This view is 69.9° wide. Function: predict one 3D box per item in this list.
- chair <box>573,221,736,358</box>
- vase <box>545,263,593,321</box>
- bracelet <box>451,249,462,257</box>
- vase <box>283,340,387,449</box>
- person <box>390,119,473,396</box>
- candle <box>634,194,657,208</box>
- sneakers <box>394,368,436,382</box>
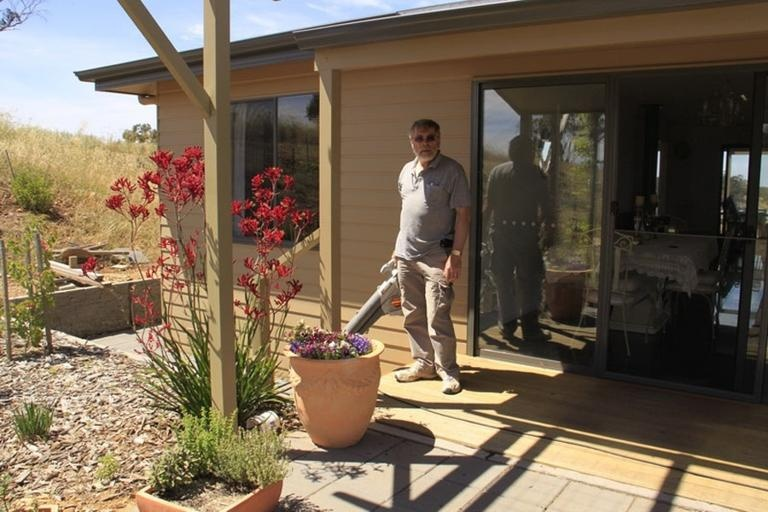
[{"bbox_3d":[2.718,0.114,5.361,1.070,0.713,1.513,5,13,30],"label":"chair"},{"bbox_3d":[1.793,0.396,5.363,0.504,0.499,0.393,2,-1,-37],"label":"vase"},{"bbox_3d":[0.617,-0.028,4.681,0.068,0.048,0.064,8,-8,6],"label":"bracelet"},{"bbox_3d":[-0.347,1.030,4.230,0.700,0.617,0.709,0,0,2],"label":"vase"},{"bbox_3d":[0.397,0.008,4.920,0.708,2.395,0.397,7,16,31],"label":"person"},{"bbox_3d":[2.561,-0.546,5.378,0.171,0.106,0.173,0,0,-2],"label":"candle"},{"bbox_3d":[0.288,1.130,5.255,0.404,0.171,0.145,4,6,-10],"label":"sneakers"}]
